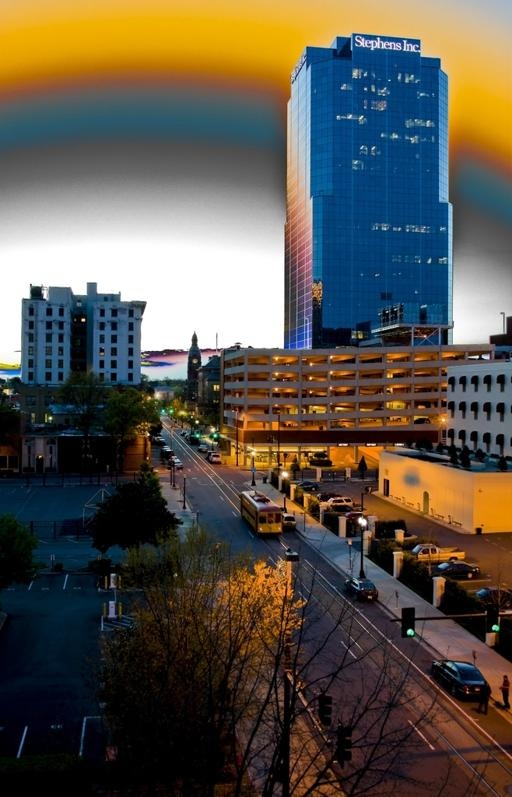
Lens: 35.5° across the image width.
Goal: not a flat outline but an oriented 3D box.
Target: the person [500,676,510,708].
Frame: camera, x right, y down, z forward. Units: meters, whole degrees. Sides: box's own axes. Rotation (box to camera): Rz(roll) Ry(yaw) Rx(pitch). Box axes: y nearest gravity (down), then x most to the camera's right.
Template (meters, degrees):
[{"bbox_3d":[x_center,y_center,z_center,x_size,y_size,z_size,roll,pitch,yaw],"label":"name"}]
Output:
[{"bbox_3d":[10.153,11.696,32.730,0.375,1.371,1.931,1,2,17],"label":"person"}]

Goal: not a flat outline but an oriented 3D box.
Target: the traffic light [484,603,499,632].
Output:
[{"bbox_3d":[8.112,7.611,27.627,0.376,0.971,0.670,1,2,15],"label":"traffic light"}]

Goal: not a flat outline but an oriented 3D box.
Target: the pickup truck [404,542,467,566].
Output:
[{"bbox_3d":[11.902,10.377,52.477,3.454,1.220,1.698,2,-2,-11],"label":"pickup truck"}]

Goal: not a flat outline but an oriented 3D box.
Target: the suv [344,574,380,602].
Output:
[{"bbox_3d":[5.986,10.770,45.154,0.805,0.801,1.826,2,5,-14],"label":"suv"}]

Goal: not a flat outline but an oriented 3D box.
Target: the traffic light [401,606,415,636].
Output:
[{"bbox_3d":[5.072,7.419,26.748,0.364,1.070,0.727,1,2,18],"label":"traffic light"}]

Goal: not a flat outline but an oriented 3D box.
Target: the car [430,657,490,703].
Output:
[{"bbox_3d":[8.550,11.730,33.214,1.098,1.140,2.700,0,2,-20],"label":"car"}]

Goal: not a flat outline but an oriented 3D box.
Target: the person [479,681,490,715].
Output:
[{"bbox_3d":[9.117,11.975,32.065,0.383,0.946,0.883,1,2,17],"label":"person"}]

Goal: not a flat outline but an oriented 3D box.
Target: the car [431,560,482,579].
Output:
[{"bbox_3d":[12.404,10.555,49.251,2.506,0.865,1.246,8,0,-6],"label":"car"}]

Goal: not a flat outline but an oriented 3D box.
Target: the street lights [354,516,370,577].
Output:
[{"bbox_3d":[6.830,9.610,51.674,0.946,3.985,0.939,1,-10,8],"label":"street lights"}]
